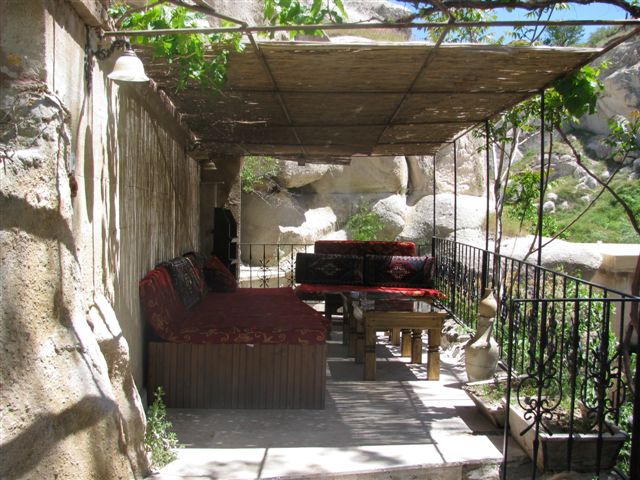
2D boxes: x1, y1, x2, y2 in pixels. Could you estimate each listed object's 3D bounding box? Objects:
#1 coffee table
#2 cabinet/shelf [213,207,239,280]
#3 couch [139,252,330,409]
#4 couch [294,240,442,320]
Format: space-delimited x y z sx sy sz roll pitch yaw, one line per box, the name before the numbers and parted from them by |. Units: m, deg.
coffee table | 0.755 0.982 5.963 1.034 1.158 0.811 4 95 -3
cabinet/shelf | -1.484 -0.028 8.605 0.314 0.378 0.972 2 97 0
couch | -0.799 0.422 5.200 1.307 2.220 0.924 1 90 -6
couch | 0.653 0.585 7.936 2.074 0.947 0.978 1 95 3
